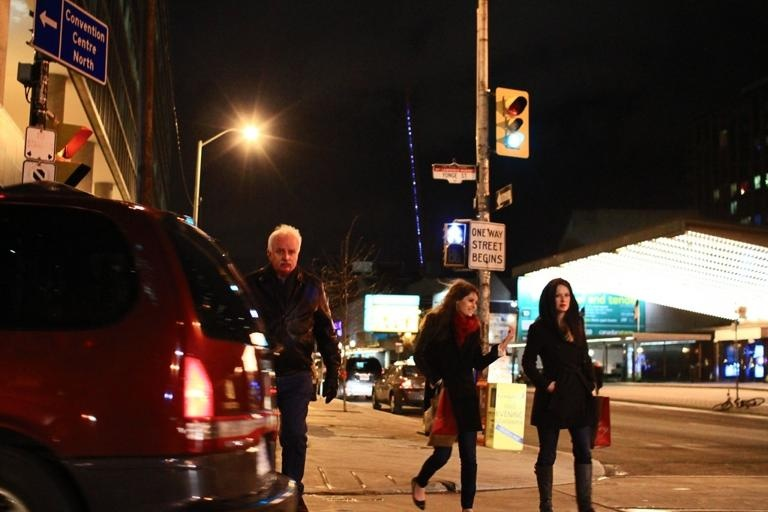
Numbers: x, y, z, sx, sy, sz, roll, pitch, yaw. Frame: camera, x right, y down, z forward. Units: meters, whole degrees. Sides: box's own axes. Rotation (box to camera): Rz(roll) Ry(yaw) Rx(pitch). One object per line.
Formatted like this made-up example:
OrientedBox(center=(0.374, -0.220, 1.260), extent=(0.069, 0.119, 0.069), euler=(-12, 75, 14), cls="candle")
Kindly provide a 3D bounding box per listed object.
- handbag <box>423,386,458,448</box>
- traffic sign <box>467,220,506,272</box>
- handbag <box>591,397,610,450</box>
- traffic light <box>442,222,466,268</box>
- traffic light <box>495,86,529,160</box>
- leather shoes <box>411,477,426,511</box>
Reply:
OrientedBox(center=(0.603, 1.689, 8.344), extent=(0.252, 0.564, 0.537), euler=(3, -25, -20), cls="handbag")
OrientedBox(center=(1.779, -0.156, 14.018), extent=(0.937, 1.077, 0.104), euler=(2, -5, -31), cls="traffic sign")
OrientedBox(center=(2.335, 1.811, 8.608), extent=(0.178, 0.550, 0.568), euler=(-2, -3, 14), cls="handbag")
OrientedBox(center=(1.362, -0.300, 14.530), extent=(0.487, 0.930, 0.454), euler=(6, 36, 8), cls="traffic light")
OrientedBox(center=(2.320, -2.397, 14.449), extent=(0.702, 1.171, 0.427), euler=(8, -8, 7), cls="traffic light")
OrientedBox(center=(0.369, 2.639, 8.735), extent=(0.132, 0.396, 0.151), euler=(-7, 3, -16), cls="leather shoes")
